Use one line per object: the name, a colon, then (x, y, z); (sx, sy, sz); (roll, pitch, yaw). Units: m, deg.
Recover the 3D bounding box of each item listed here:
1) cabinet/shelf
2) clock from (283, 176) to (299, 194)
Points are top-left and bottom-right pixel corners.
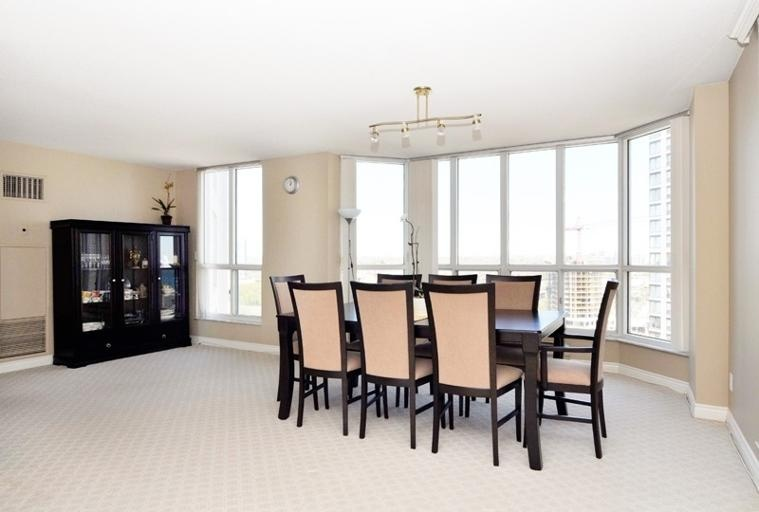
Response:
cabinet/shelf: (-3.857, 0.574, 7.838); (0.697, 2.079, 2.081); (-2, -2, 33)
clock: (-1.330, -1.054, 8.086); (0.295, 0.265, 0.085); (7, 15, 29)
